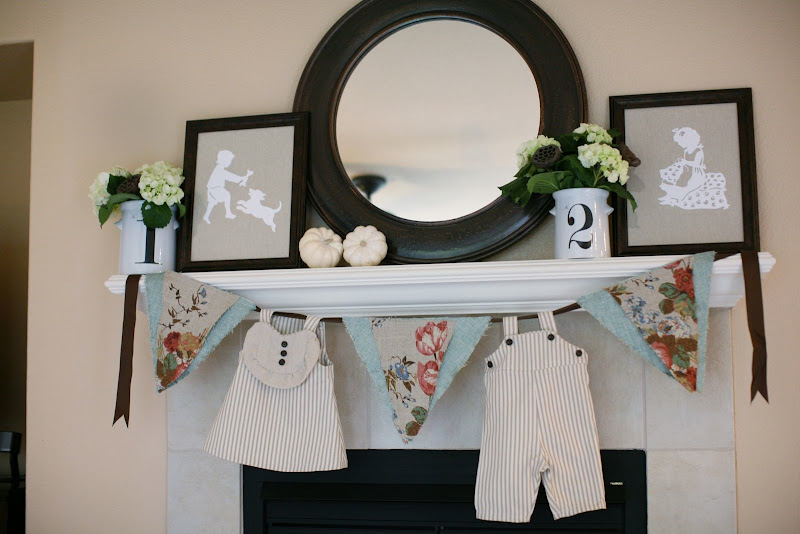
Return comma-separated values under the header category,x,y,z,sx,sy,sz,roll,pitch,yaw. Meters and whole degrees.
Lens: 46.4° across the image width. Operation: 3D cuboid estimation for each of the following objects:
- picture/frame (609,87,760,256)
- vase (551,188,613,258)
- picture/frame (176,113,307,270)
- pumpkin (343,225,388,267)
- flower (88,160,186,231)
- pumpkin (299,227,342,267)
category,x,y,z,sx,sy,sz,roll,pitch,yaw
picture/frame,0.981,-0.301,3.167,0.527,0.671,0.044,-2,-10,8
vase,0.616,-0.116,3.147,0.211,0.216,0.211,-4,-15,16
picture/frame,-0.556,-0.246,3.336,0.515,0.639,0.069,-1,-12,10
pumpkin,-0.120,-0.069,3.204,0.132,0.141,0.062,0,-21,2
flower,-0.914,-0.260,3.257,0.257,0.172,0.255,-26,27,-24
pumpkin,-0.285,-0.065,3.222,0.162,0.144,0.128,0,-4,7
